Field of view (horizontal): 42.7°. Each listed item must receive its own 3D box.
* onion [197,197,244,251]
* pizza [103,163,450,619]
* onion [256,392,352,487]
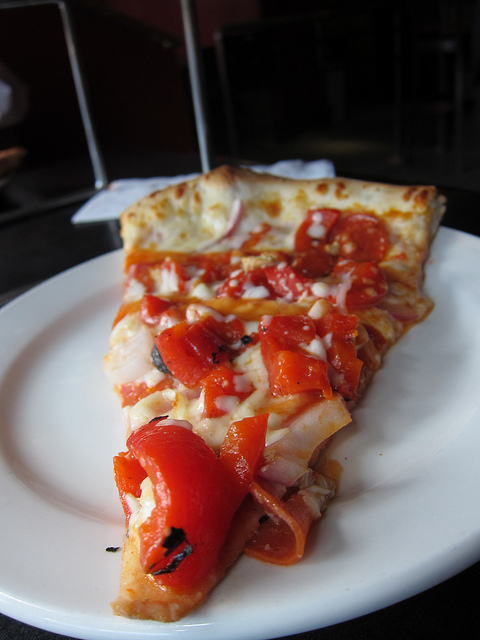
[{"bbox_3d":[-0.029,-0.213,1.436,0.124,0.031,0.103,-48,25,-6],"label":"onion"},{"bbox_3d":[0.065,0.077,1.085,0.596,0.138,0.840,8,32,24],"label":"pizza"},{"bbox_3d":[0.090,0.174,0.886,0.105,0.037,0.137,11,42,30],"label":"onion"}]
